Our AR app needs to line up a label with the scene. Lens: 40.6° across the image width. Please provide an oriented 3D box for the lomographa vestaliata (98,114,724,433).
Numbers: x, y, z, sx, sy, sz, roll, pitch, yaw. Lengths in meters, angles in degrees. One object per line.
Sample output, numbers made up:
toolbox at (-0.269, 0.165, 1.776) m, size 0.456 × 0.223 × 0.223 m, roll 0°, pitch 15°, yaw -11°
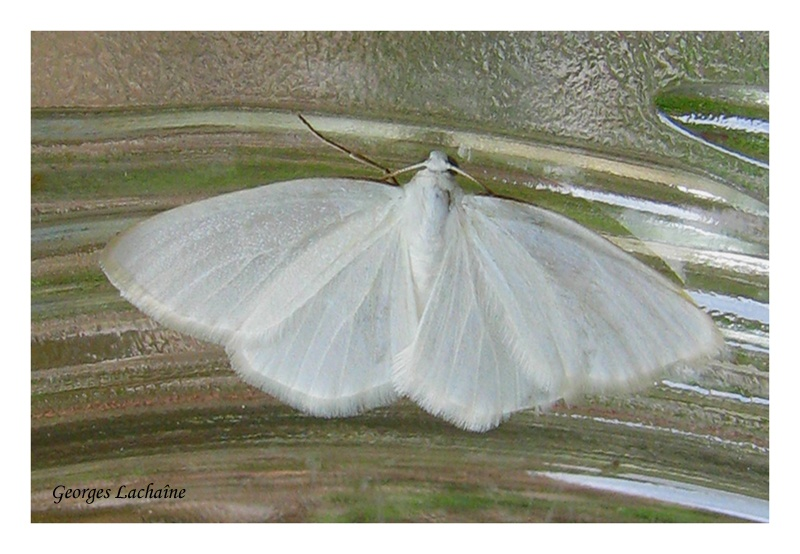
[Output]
lomographa vestaliata at (0.117, 0.015, 3.394) m, size 1.706 × 0.817 × 0.244 m, roll 5°, pitch 8°, yaw 1°
